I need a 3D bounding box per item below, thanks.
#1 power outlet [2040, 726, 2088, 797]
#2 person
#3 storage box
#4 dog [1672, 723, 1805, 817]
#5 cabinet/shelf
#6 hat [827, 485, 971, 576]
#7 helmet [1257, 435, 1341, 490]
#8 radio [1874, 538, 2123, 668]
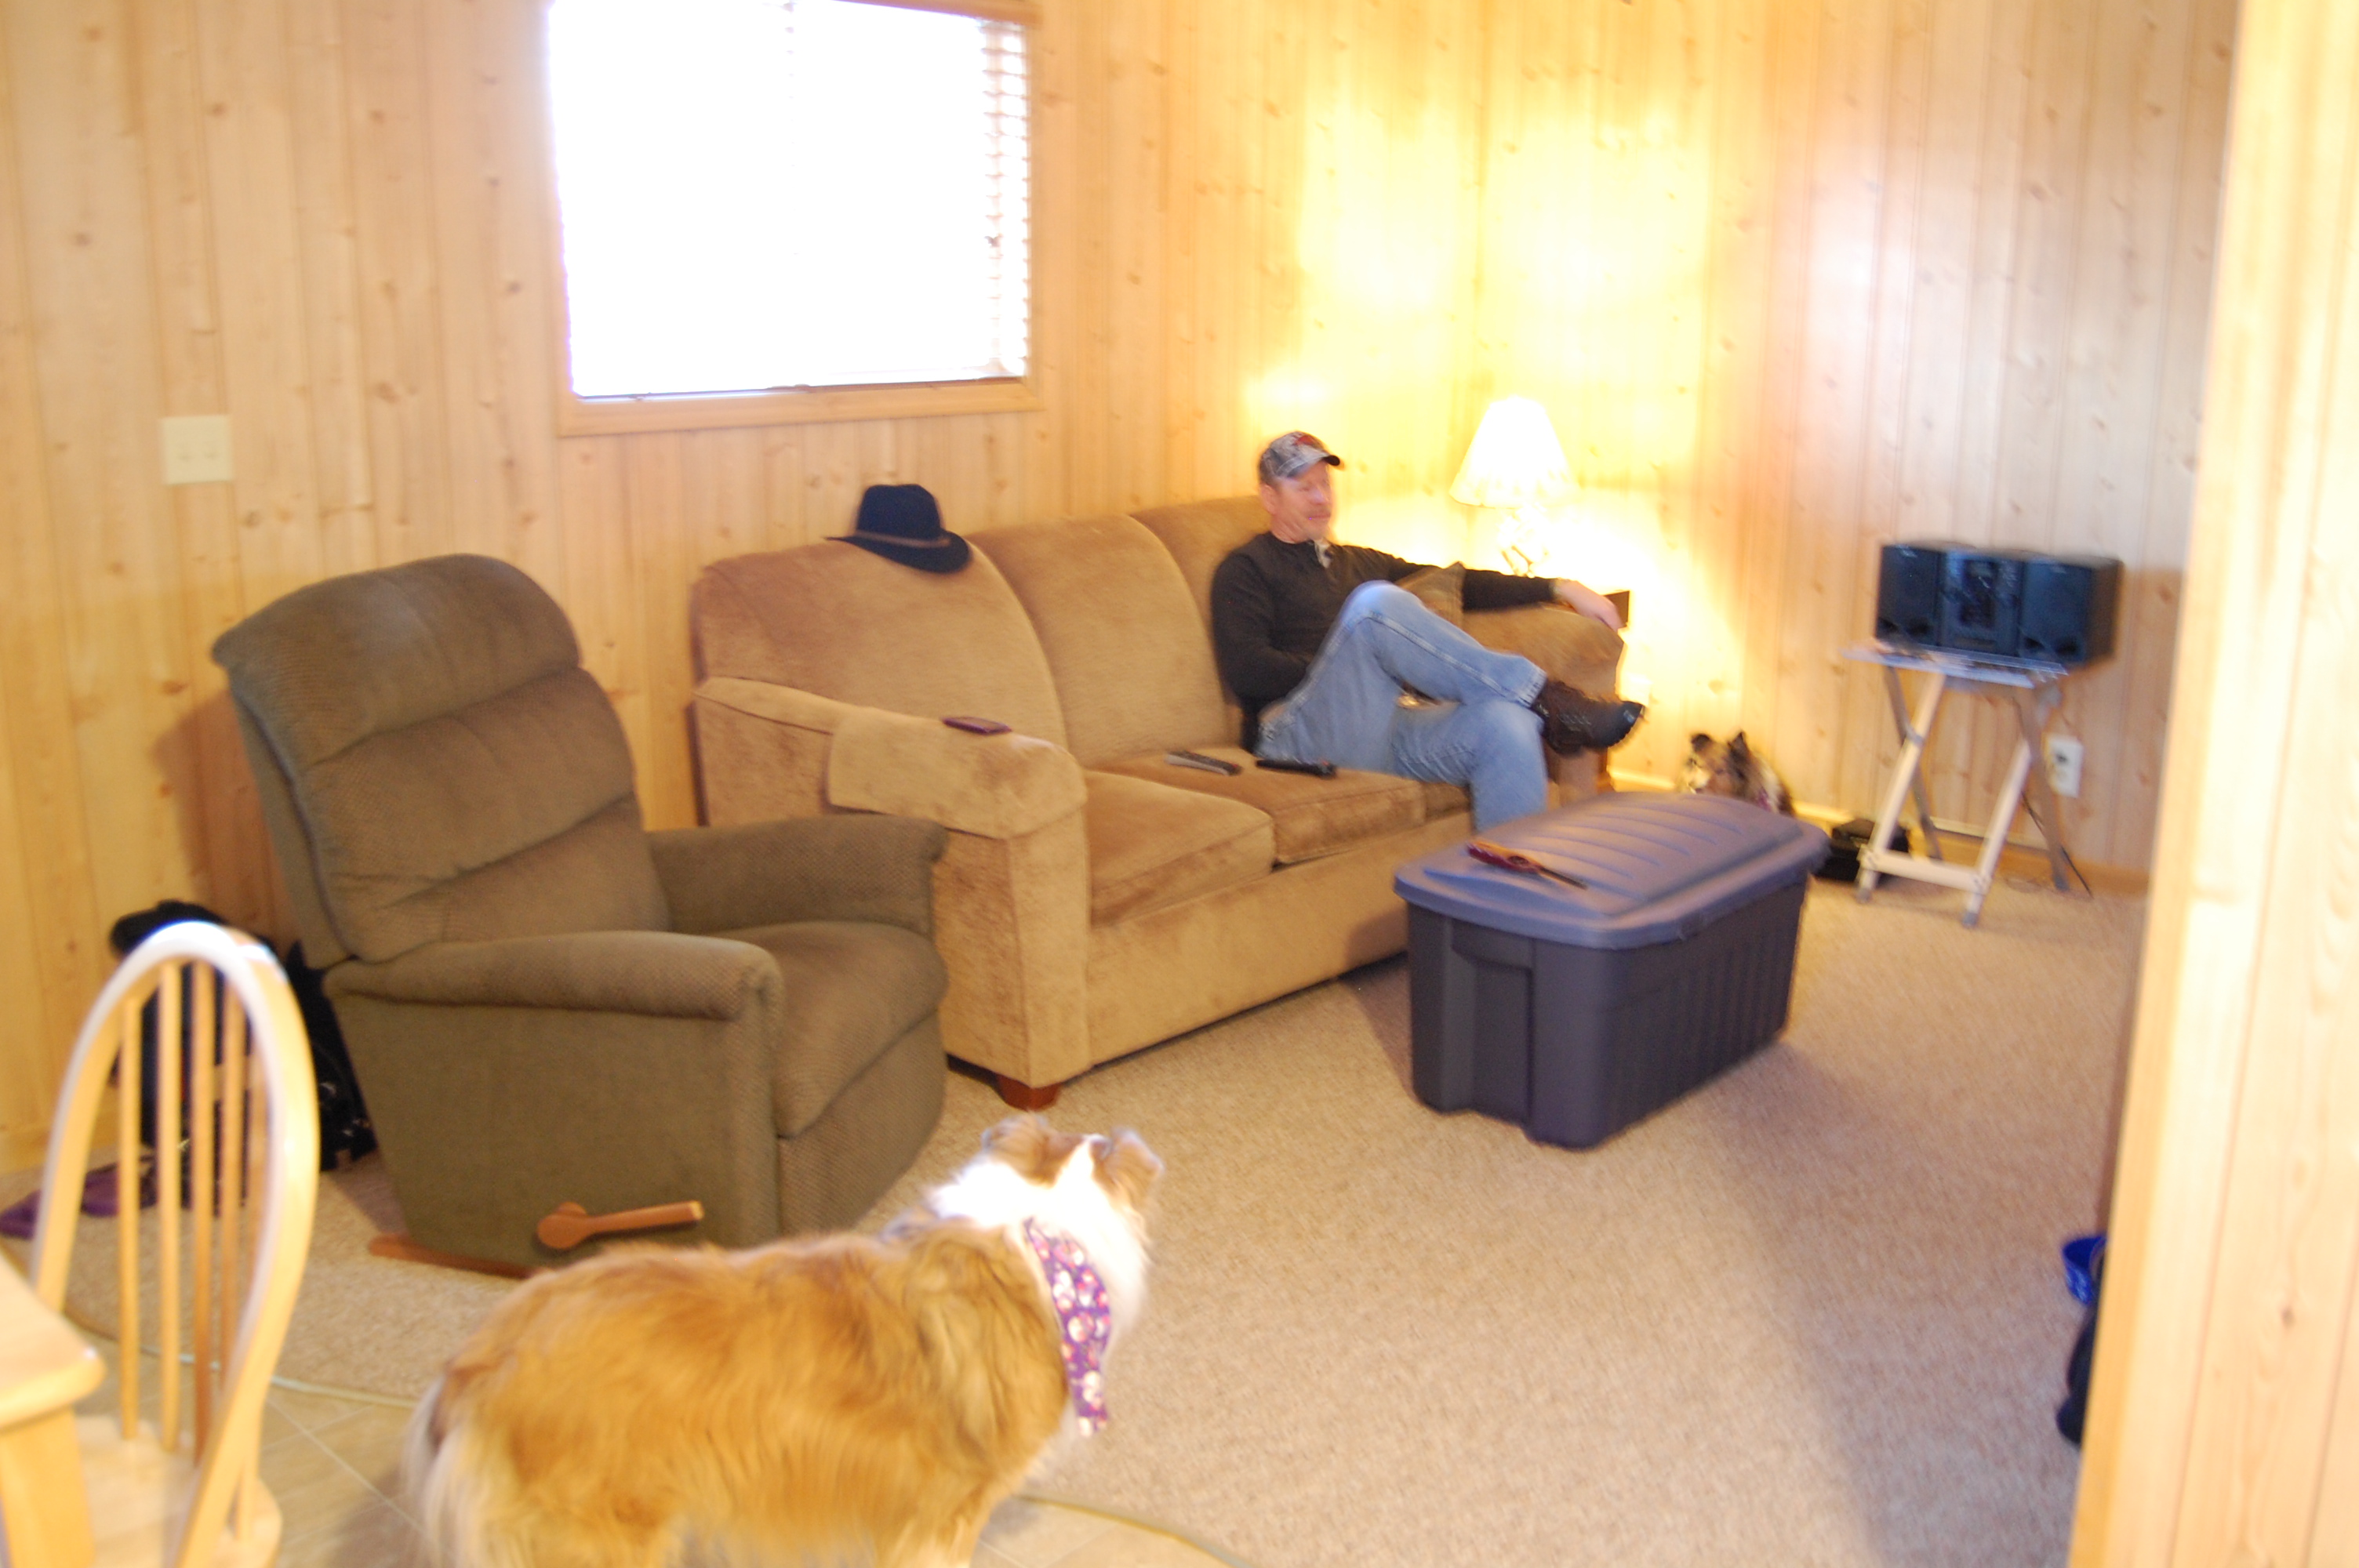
[{"bbox_3d":[2.501,-0.072,5.018,0.025,0.236,0.176,-12,14,-41],"label":"power outlet"},{"bbox_3d":[0.676,-0.277,4.971,1.138,1.367,0.793,2,13,21],"label":"person"},{"bbox_3d":[0.955,0.371,3.915,0.643,0.501,0.932,10,15,40],"label":"storage box"},{"bbox_3d":[1.704,-0.045,5.431,0.333,0.250,0.227,-2,16,6],"label":"dog"},{"bbox_3d":[2.241,-0.022,5.076,0.588,0.687,0.644,-8,15,-30],"label":"cabinet/shelf"},{"bbox_3d":[-0.709,-0.651,4.552,0.288,0.118,0.237,18,14,24],"label":"hat"},{"bbox_3d":[0.331,-0.911,5.096,0.206,0.106,0.139,-6,14,42],"label":"helmet"},{"bbox_3d":[2.304,-0.540,4.970,0.315,0.303,0.598,-25,28,-38],"label":"radio"}]
